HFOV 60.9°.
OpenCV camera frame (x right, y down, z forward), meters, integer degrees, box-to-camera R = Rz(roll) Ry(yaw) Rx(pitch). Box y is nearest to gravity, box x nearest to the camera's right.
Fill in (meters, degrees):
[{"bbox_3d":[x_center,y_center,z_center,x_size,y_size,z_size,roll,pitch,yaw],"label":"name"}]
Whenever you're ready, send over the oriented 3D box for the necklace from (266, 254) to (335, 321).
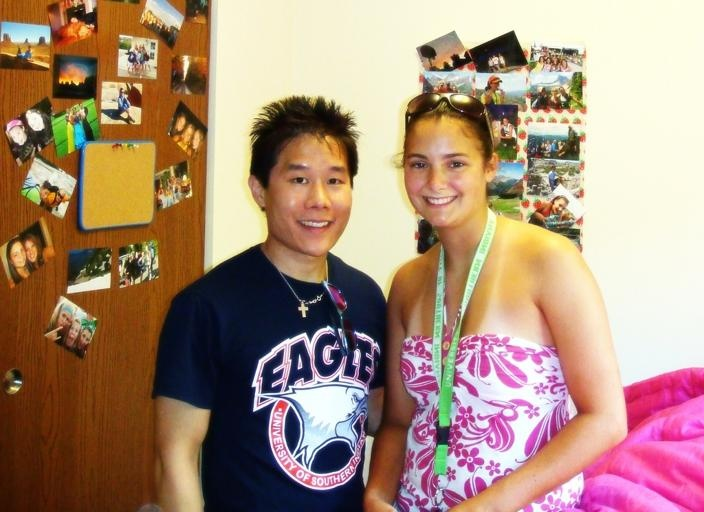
[{"bbox_3d":[-0.108,0.073,1.557,0.120,0.123,0.043,-1,-19,-33],"label":"necklace"}]
